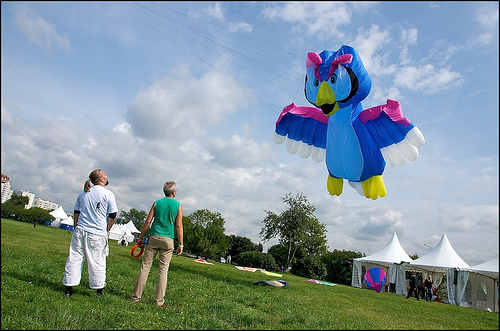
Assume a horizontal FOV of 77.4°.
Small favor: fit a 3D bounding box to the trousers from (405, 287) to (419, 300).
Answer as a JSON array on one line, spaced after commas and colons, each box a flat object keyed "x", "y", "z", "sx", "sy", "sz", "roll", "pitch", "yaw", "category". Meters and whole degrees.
[{"x": 11.049, "y": 8.616, "z": 21.149, "sx": 0.554, "sy": 0.691, "sz": 1.581, "roll": -4, "pitch": -23, "yaw": 30, "category": "trousers"}]

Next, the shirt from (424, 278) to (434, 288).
[{"x": 12.718, "y": 8.379, "z": 22.309, "sx": 0.455, "sy": 0.685, "sz": 0.656, "roll": -2, "pitch": -22, "yaw": 25, "category": "shirt"}]

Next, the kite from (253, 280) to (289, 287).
[{"x": 1.106, "y": 5.491, "z": 14.552, "sx": 1.519, "sy": 0.247, "sz": 1.144, "roll": 19, "pitch": -23, "yaw": -31, "category": "kite"}]

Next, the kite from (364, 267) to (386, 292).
[{"x": 8.418, "y": 7.786, "z": 21.102, "sx": 1.149, "sy": 1.395, "sz": 1.161, "roll": 10, "pitch": -23, "yaw": -19, "category": "kite"}]

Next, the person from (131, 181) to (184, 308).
[{"x": -2.392, "y": 2.038, "z": 8.392, "sx": 1.153, "sy": 3.203, "sz": 0.987, "roll": 15, "pitch": -22, "yaw": -16, "category": "person"}]

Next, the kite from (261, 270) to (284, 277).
[{"x": 1.680, "y": 9.226, "z": 26.265, "sx": 1.172, "sy": 0.331, "sz": 1.766, "roll": -2, "pitch": 0, "yaw": 8, "category": "kite"}]

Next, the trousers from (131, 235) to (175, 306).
[{"x": -2.556, "y": 2.751, "z": 8.293, "sx": 0.797, "sy": 1.732, "sz": 0.642, "roll": 9, "pitch": -21, "yaw": -1, "category": "trousers"}]
